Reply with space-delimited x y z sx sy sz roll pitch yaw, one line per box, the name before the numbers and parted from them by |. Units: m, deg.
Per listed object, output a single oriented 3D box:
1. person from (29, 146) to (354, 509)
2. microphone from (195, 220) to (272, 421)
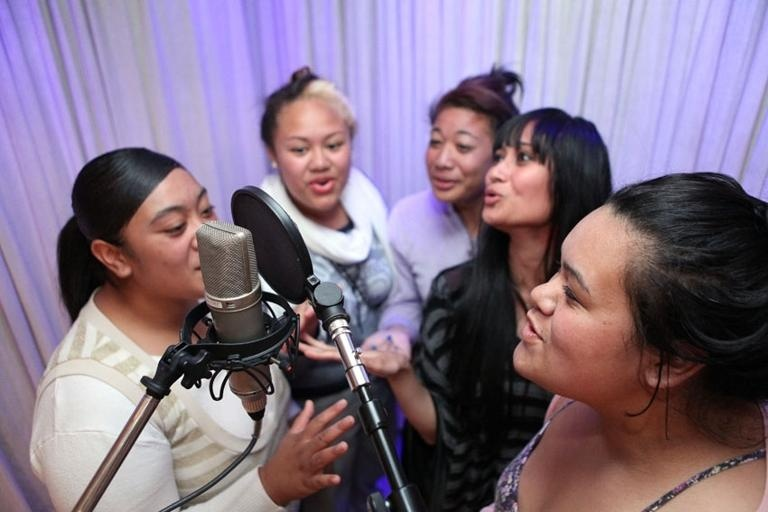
person | -0.670 0.347 1.898 0.897 1.283 0.702 -6 26 -7
microphone | -0.337 0.154 1.346 0.125 0.466 0.167 -13 28 -20
